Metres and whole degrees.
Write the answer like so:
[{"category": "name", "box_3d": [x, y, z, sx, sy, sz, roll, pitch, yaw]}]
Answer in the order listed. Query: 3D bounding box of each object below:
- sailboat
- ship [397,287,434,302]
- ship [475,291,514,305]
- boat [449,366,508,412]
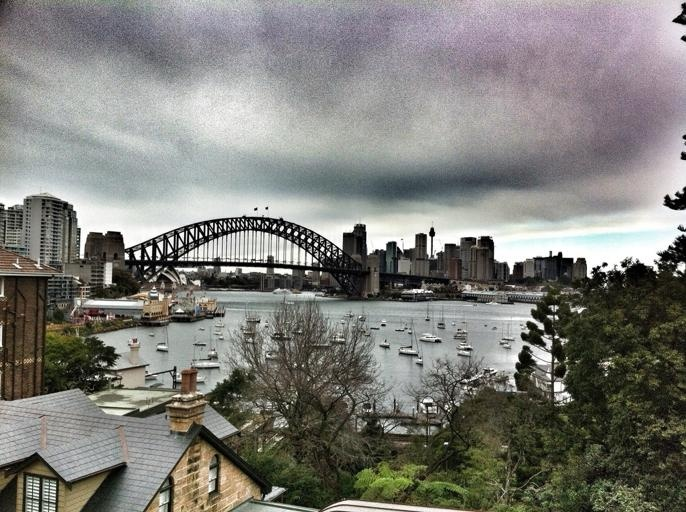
[{"category": "sailboat", "box_3d": [5.170, 8.450, 85.128, 24.772, 4.443, 10.071, -1, -8, -18]}, {"category": "ship", "box_3d": [20.940, 11.087, 223.876, 3.805, 3.787, 12.672, -3, -7, 26]}, {"category": "ship", "box_3d": [43.434, 11.893, 224.096, 9.740, 4.082, 25.511, -2, -4, 10]}, {"category": "boat", "box_3d": [7.222, 7.213, 41.753, 3.394, 3.042, 2.922, -2, -4, 9]}]
